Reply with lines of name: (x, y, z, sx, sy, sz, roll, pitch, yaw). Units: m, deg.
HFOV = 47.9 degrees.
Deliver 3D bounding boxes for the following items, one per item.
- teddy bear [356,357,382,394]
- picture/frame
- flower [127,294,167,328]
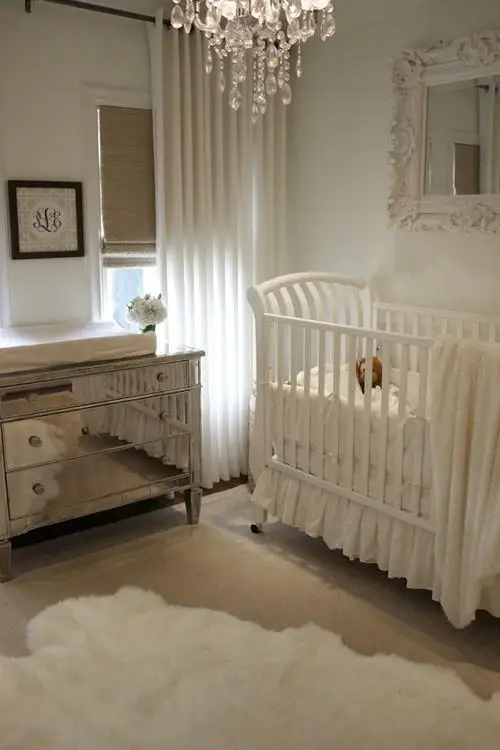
teddy bear: (0.437, 0.009, 2.079, 0.103, 0.183, 0.050, 0, 10, -3)
picture/frame: (-0.852, -0.643, 2.318, 0.021, 0.328, 0.270, 17, 23, 42)
flower: (-0.448, -0.245, 2.445, 0.139, 0.171, 0.145, 8, -16, -37)
